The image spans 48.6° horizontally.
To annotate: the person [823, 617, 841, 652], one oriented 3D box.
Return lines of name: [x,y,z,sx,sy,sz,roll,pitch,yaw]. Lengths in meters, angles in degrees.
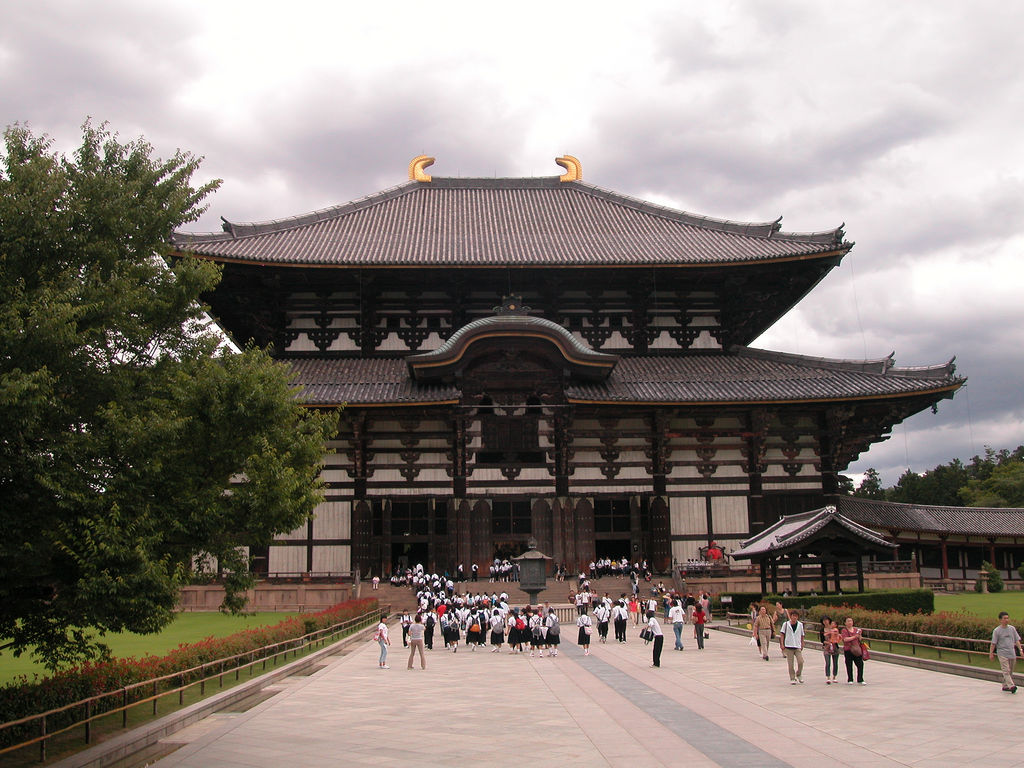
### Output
person: [8.325,6.573,29.752,0.592,0.715,0.307,-4,5,-24]

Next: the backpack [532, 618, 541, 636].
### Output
backpack: [0.785,7.698,35.991,0.319,0.575,0.333,3,-16,-11]

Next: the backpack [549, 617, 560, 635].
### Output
backpack: [1.309,7.649,35.741,0.305,0.639,0.567,2,-16,-8]
